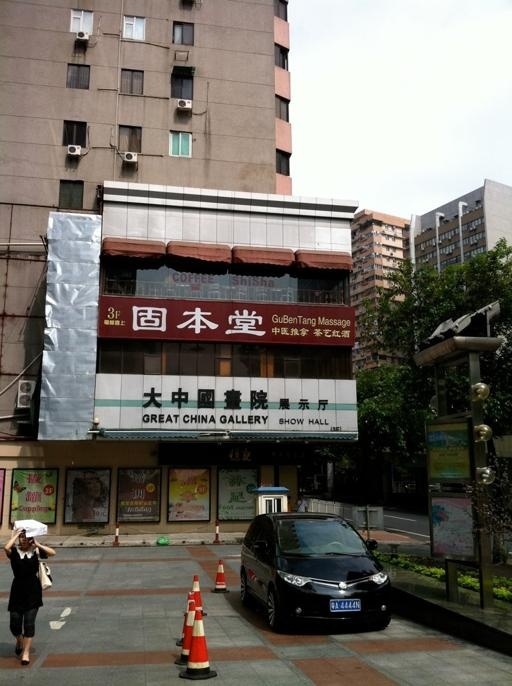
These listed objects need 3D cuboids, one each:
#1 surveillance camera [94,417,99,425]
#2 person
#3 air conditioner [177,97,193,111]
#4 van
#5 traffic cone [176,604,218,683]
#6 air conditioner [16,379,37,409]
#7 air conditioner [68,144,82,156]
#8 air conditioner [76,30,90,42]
[{"bbox_3d":[-5.877,2.902,24.103,0.205,0.230,0.198,-1,-2,-2],"label":"surveillance camera"},{"bbox_3d":[-2.509,2.721,7.125,0.498,1.326,0.638,3,-11,-16],"label":"person"},{"bbox_3d":[-3.318,-11.062,30.366,0.695,0.650,0.578,1,-10,-8],"label":"air conditioner"},{"bbox_3d":[0.832,3.267,9.296,1.565,1.448,2.404,2,-10,-13],"label":"van"},{"bbox_3d":[-0.573,2.948,6.450,0.358,0.667,0.503,0,-10,-5],"label":"traffic cone"},{"bbox_3d":[-9.194,2.104,26.078,0.706,1.154,0.391,1,-10,-9],"label":"air conditioner"},{"bbox_3d":[-7.991,-8.477,28.788,0.631,0.601,0.477,3,-10,-18],"label":"air conditioner"},{"bbox_3d":[-7.931,-13.913,29.740,0.444,0.228,0.605,-6,11,-20],"label":"air conditioner"}]
